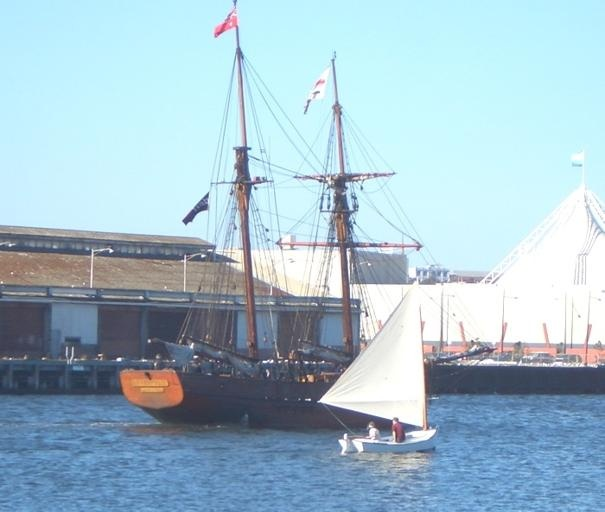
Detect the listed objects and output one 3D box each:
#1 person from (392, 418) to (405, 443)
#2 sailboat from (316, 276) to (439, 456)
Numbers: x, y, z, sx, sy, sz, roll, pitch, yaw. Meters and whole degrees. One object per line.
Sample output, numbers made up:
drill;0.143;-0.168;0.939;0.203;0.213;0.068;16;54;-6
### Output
person;5.975;10.783;105.358;0.751;1.569;1.772;0;-9;6
sailboat;5.400;7.178;107.161;5.469;10.634;3.411;3;-9;-16
